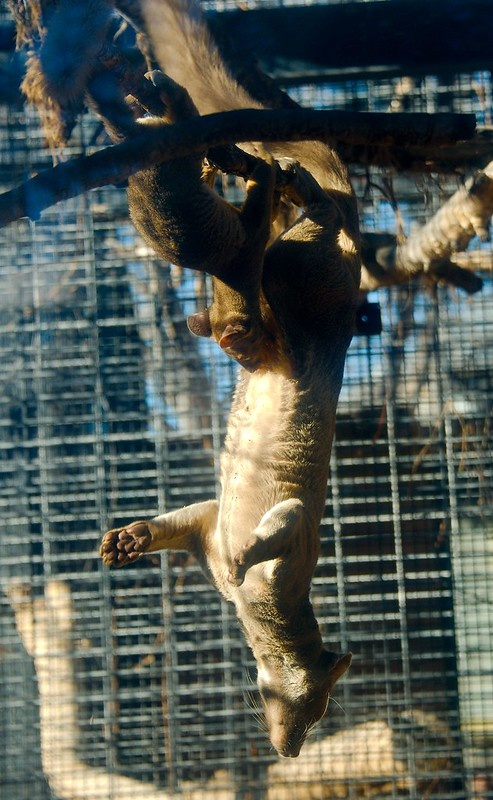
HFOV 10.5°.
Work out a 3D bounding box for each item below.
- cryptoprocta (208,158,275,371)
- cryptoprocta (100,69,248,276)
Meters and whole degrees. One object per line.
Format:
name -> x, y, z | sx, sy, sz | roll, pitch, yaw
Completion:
cryptoprocta -> -0.003, -0.236, 4.859 | 0.069, 0.372, 0.194 | 4, -3, 23
cryptoprocta -> -0.100, -0.321, 4.749 | 0.125, 0.441, 0.194 | -20, 37, -4
